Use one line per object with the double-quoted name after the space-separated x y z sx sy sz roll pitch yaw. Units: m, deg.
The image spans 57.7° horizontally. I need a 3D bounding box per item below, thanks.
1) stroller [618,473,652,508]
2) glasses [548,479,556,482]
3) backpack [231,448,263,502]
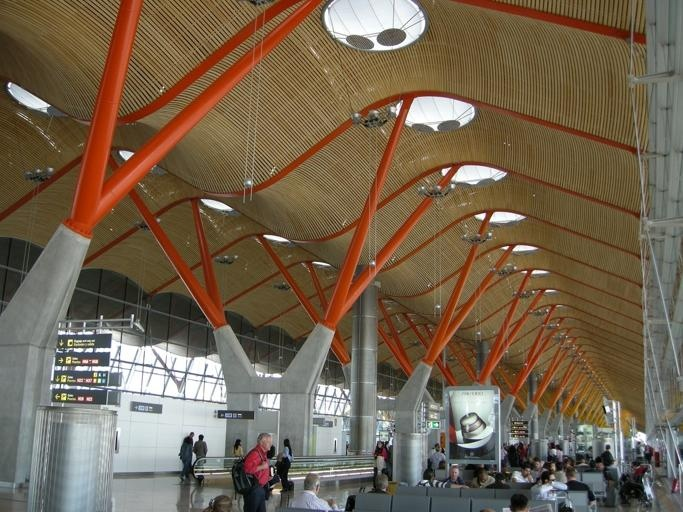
11.706 9.422 24.823 1.310 1.444 1.085 0 -14 28 "stroller"
5.271 5.612 15.531 0.139 0.041 0.140 2 -9 -12 "glasses"
-1.983 4.414 12.598 0.420 0.859 0.852 12 -22 -28 "backpack"
